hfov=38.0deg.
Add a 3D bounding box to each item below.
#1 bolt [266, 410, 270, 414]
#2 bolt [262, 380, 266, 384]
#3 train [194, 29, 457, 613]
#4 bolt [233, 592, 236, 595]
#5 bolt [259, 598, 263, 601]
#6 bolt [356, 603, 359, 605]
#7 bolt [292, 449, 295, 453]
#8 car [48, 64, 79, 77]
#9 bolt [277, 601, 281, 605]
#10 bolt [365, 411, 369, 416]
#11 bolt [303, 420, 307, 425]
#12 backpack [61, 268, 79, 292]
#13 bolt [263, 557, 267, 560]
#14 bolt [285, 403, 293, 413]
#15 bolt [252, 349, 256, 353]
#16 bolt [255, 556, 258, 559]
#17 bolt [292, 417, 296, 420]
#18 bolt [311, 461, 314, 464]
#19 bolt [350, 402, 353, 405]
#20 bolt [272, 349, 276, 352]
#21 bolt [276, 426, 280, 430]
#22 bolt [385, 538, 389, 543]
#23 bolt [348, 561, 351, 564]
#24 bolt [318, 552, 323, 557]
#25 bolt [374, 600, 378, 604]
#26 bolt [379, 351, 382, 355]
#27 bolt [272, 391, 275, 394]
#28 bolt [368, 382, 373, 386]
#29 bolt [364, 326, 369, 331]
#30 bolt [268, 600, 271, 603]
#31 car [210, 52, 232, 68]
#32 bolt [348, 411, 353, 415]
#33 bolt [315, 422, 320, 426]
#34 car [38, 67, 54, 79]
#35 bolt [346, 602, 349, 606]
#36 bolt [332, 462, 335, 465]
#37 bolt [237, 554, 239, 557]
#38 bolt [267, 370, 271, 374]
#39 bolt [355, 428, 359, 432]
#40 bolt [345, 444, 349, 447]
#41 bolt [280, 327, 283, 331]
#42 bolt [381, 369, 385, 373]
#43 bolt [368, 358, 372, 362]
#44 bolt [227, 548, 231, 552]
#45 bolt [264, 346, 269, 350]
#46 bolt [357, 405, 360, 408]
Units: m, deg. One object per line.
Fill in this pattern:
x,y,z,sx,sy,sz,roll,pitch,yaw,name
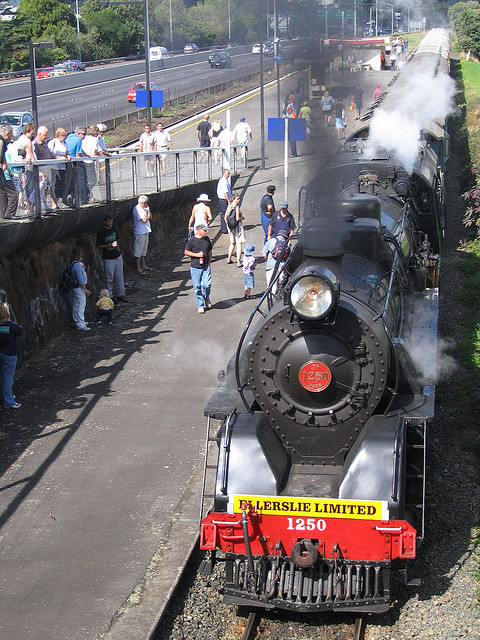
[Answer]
0.233,0.760,5.861,0.030,0.026,0.003,6,23,26,bolt
0.197,0.510,5.808,0.009,0.021,0.021,-11,24,25,bolt
1.226,-0.960,8.445,1.838,2.375,9.065,-1,31,14,train
-0.044,2.039,5.245,0.025,0.025,0.006,10,3,2,bolt
0.155,2.044,5.145,0.022,0.021,0.005,6,-5,17,bolt
0.839,2.020,5.006,0.015,0.004,0.015,9,17,20,bolt
0.449,1.092,5.867,0.017,0.031,0.004,-1,21,8,bolt
-16.114,-22.288,63.507,1.437,1.194,2.421,8,24,14,car
0.285,2.048,5.085,0.027,0.019,0.011,14,27,40,bolt
1.023,0.749,5.624,0.031,0.025,0.006,7,23,26,bolt
0.536,0.834,5.731,0.039,0.044,0.012,5,22,22,bolt
-2.960,-0.693,12.052,0.244,0.367,0.282,-22,27,-39,backpack
0.188,1.790,5.288,0.024,0.016,0.022,0,-1,1,bolt
0.405,0.718,5.753,0.016,0.063,0.045,37,-8,-22,bolt
0.118,0.258,5.829,0.027,0.022,0.011,-2,21,4,bolt
0.124,1.786,5.290,0.015,0.015,0.049,-12,-7,5,bolt
0.444,0.805,5.766,0.017,0.016,0.017,6,20,17,bolt
0.607,1.185,5.855,0.017,0.016,0.013,3,11,8,bolt
0.893,0.665,5.605,0.017,0.016,0.015,20,46,5,bolt
0.278,0.247,5.719,0.023,0.023,0.007,4,-3,-3,bolt
0.318,0.897,5.861,0.029,0.033,0.002,6,23,25,bolt
1.060,1.576,5.038,0.028,0.029,0.007,4,4,11,bolt
0.801,1.769,5.131,0.011,0.018,0.013,1,51,0,bolt
0.593,1.724,5.164,0.041,0.015,0.042,-5,-8,6,bolt
0.978,2.012,5.023,0.024,0.025,0.006,-5,21,-2,bolt
1.104,0.257,5.505,0.020,0.031,0.019,-5,44,3,bolt
0.277,0.594,5.770,0.016,0.029,0.013,-2,21,6,bolt
1.034,0.509,5.545,0.036,0.037,0.006,-5,21,-3,bolt
0.999,0.067,5.504,0.035,0.030,0.029,1,50,-18,bolt
0.217,2.047,5.119,0.020,0.007,0.021,1,21,12,bolt
-1.778,-25.655,69.172,1.186,1.109,2.152,2,19,6,car
0.889,0.741,5.623,0.026,0.022,0.037,5,-2,-9,bolt
0.630,0.838,5.709,0.027,0.036,0.091,-1,-5,8,bolt
-17.578,-22.275,63.206,1.012,0.728,1.685,4,35,8,car
0.771,2.023,5.006,0.018,0.021,0.010,-2,21,6,bolt
0.778,1.185,5.812,0.020,0.019,0.007,12,5,-12,bolt
-0.017,1.777,5.306,0.013,0.015,0.013,5,26,13,bolt
0.236,0.424,5.771,0.020,0.020,0.006,-5,-27,1,bolt
0.949,0.883,5.672,0.020,0.020,0.022,7,-3,8,bolt
0.874,1.019,5.709,0.032,0.023,0.006,4,22,21,bolt
0.340,0.073,5.688,0.019,0.022,0.020,11,34,18,bolt
1.126,0.399,5.504,0.021,0.021,0.020,10,-11,10,bolt
1.031,0.314,5.522,0.025,0.027,0.013,2,21,15,bolt
-0.083,1.740,5.325,0.023,0.013,0.024,-1,8,6,bolt
0.217,0.227,5.752,0.038,0.033,0.006,14,27,40,bolt
0.950,0.686,5.604,0.020,0.020,0.007,-17,-28,40,bolt
